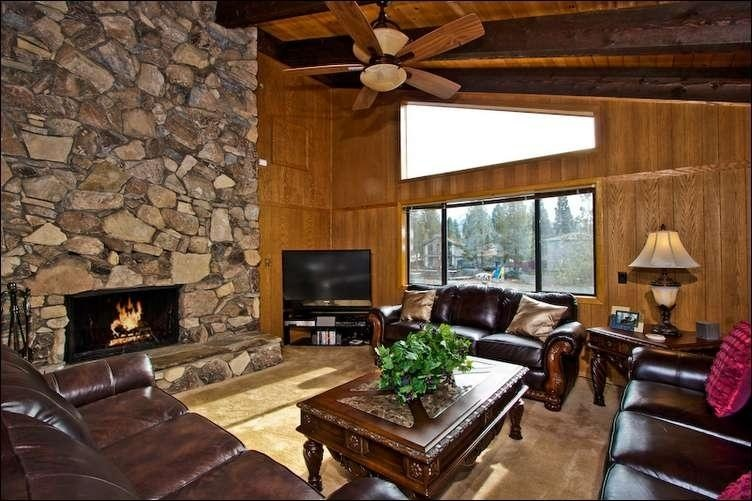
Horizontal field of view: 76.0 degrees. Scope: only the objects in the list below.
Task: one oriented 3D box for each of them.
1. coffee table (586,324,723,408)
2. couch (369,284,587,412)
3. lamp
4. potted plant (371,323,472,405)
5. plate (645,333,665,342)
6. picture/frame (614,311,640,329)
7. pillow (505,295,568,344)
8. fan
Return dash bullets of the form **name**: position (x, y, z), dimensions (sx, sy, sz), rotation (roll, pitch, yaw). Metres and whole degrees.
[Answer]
- **coffee table**: position (2.725, 1.276, 5.201), dimensions (1.066, 0.633, 1.016), rotation (6, -12, -17)
- **couch**: position (1.138, 0.985, 6.021), dimensions (2.648, 0.986, 0.918), rotation (2, 10, 37)
- **lamp**: position (3.047, 0.293, 5.130), dimensions (0.624, 1.160, 0.625), rotation (1, 2, 31)
- **potted plant**: position (0.378, 0.934, 4.226), dimensions (0.813, 0.444, 0.701), rotation (-4, 3, -37)
- **plate**: position (2.803, 0.879, 4.857), dimensions (0.174, 0.050, 0.201), rotation (0, 0, 29)
- **picture/frame**: position (2.695, 0.756, 5.198), dimensions (0.198, 0.168, 0.107), rotation (-1, -9, 39)
- **pillow**: position (1.834, 0.787, 5.577), dimensions (0.332, 0.438, 0.525), rotation (-1, 2, -37)
- **fan**: position (0.083, -1.969, 4.886), dimensions (1.580, 0.597, 1.353), rotation (-2, 2, -33)
